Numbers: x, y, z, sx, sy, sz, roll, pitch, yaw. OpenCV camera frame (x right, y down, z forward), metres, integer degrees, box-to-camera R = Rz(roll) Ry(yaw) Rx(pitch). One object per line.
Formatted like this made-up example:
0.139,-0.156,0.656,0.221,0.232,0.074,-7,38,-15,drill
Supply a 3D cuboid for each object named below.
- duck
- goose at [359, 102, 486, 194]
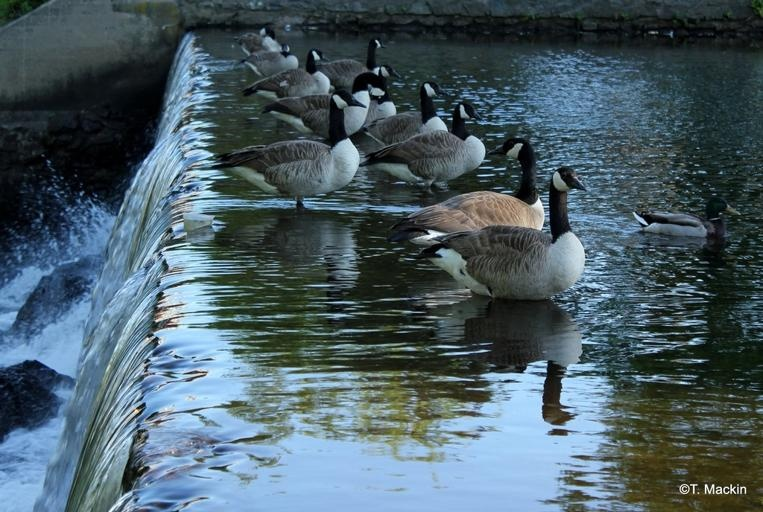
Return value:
5.310,-0.669,17.800,1.729,0.637,0.741,2,24,-2,duck
1.197,-2.091,19.892,3.540,1.477,1.374,0,16,-11,goose
